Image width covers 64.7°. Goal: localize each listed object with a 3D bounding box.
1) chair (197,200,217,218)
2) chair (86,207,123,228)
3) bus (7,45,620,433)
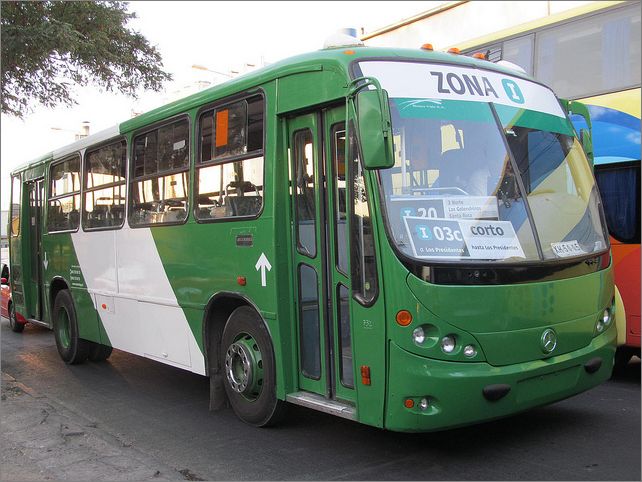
[{"bbox_3d":[-1.426,-0.410,6.326,0.213,0.237,0.223,-2,5,-28],"label":"chair"},{"bbox_3d":[-3.586,-0.385,8.343,0.610,0.480,0.206,-3,2,35],"label":"chair"},{"bbox_3d":[0.100,0.081,5.645,1.811,2.123,5.070,-3,2,-39],"label":"bus"}]
